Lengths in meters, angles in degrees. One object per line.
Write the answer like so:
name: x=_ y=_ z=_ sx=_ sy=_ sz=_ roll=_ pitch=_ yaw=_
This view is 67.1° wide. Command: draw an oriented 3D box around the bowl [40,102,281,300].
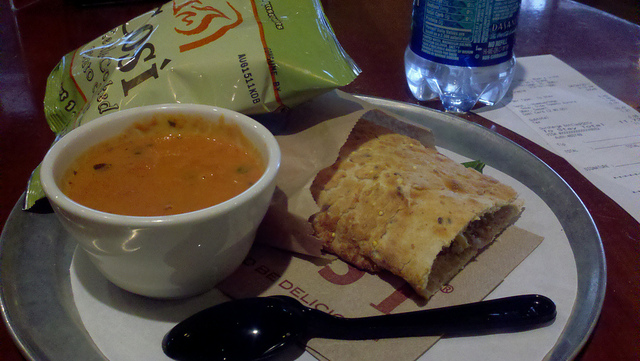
bowl: x=-0.480 y=0.028 z=1.586 sx=0.642 sy=0.343 sz=0.595 roll=-2 pitch=52 yaw=2
